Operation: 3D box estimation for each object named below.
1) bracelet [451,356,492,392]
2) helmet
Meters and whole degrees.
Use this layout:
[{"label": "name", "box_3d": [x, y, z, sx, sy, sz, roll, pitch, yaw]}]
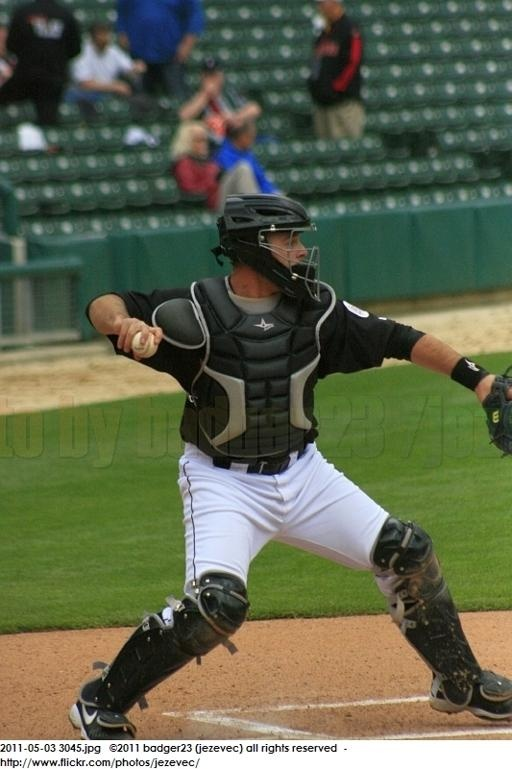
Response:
[{"label": "bracelet", "box_3d": [0.623, -0.033, 2.901, 0.087, 0.115, 0.049, -42, -15, -13]}, {"label": "helmet", "box_3d": [0.026, -0.511, 2.995, 0.285, 0.137, 0.192, 10, 28, 21]}]
